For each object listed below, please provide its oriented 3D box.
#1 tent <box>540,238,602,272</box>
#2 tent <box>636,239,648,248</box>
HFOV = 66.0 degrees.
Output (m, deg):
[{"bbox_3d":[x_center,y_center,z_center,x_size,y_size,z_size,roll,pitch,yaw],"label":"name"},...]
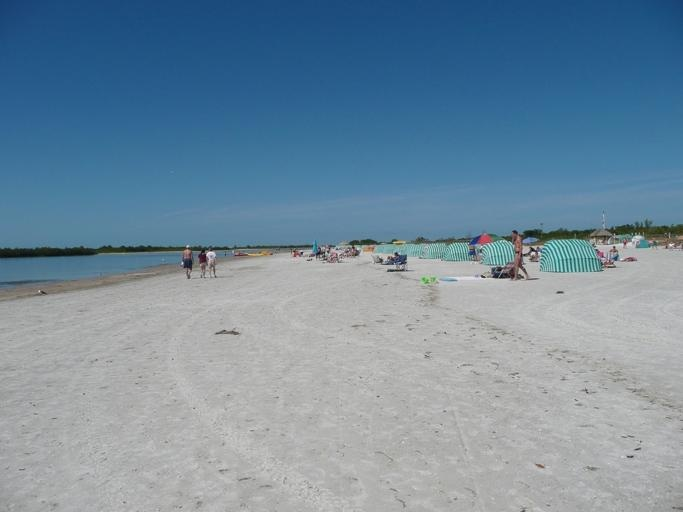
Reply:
[{"bbox_3d":[12.798,-0.269,30.012,3.687,1.529,3.019,5,18,8],"label":"tent"},{"bbox_3d":[41.384,-1.673,72.296,1.318,0.908,1.786,6,11,29],"label":"tent"}]
